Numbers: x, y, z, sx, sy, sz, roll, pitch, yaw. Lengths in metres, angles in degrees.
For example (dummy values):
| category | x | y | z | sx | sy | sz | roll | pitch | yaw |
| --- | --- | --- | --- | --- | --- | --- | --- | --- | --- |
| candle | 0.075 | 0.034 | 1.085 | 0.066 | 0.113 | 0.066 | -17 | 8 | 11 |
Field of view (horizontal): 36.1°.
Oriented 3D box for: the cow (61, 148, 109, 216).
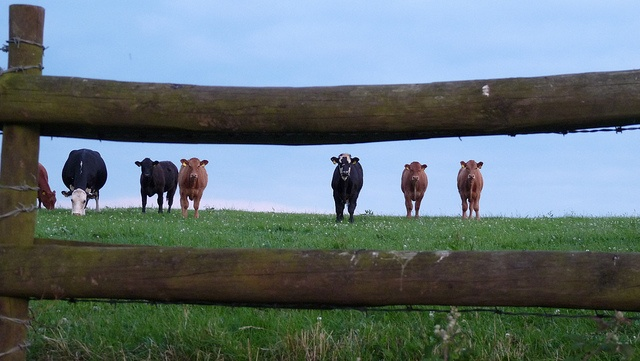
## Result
| category | x | y | z | sx | sy | sz | roll | pitch | yaw |
| --- | --- | --- | --- | --- | --- | --- | --- | --- | --- |
| cow | -6.508 | 0.017 | 27.132 | 1.150 | 1.661 | 3.674 | -2 | 8 | -13 |

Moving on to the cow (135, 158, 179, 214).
| category | x | y | z | sx | sy | sz | roll | pitch | yaw |
| --- | --- | --- | --- | --- | --- | --- | --- | --- | --- |
| cow | -4.766 | 0.166 | 28.576 | 0.826 | 1.530 | 2.843 | 1 | -3 | 8 |
